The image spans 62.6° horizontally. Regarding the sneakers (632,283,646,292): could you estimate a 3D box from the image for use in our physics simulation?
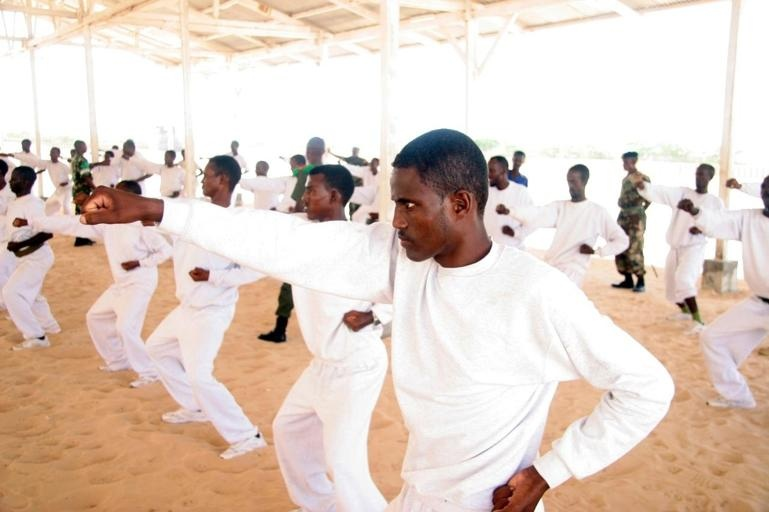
[{"bbox_3d":[4.826,0.588,12.052,0.154,0.140,0.378,-10,-6,27],"label":"sneakers"}]

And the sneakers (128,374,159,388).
[{"bbox_3d":[-3.046,1.593,8.072,0.126,0.140,0.378,0,-1,44],"label":"sneakers"}]

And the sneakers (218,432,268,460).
[{"bbox_3d":[-1.491,1.975,6.673,0.342,0.133,0.255,-7,6,-33],"label":"sneakers"}]

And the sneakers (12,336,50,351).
[{"bbox_3d":[-5.009,1.245,9.022,0.534,0.193,0.171,2,6,-20],"label":"sneakers"}]

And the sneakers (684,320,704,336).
[{"bbox_3d":[4.671,1.088,9.574,0.201,0.254,0.174,26,16,34],"label":"sneakers"}]
